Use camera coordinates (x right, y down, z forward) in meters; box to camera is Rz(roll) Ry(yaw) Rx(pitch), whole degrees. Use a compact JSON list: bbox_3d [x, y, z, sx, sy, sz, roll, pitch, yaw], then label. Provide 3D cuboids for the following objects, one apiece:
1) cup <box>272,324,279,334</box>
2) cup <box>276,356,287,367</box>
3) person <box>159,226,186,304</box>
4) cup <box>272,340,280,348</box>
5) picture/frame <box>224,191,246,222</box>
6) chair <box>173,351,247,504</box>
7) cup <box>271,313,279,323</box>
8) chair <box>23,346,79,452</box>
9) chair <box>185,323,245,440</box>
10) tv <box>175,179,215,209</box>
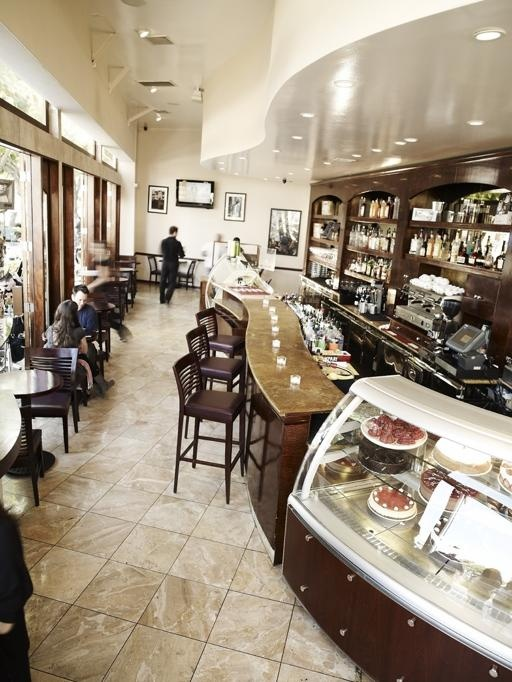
[{"bbox_3d":[0.189,-0.114,4.460,0.067,0.081,0.072,0,10,0],"label":"cup"},{"bbox_3d":[0.189,0.147,3.421,0.062,0.076,0.065,1,9,0],"label":"cup"},{"bbox_3d":[-2.035,-1.847,11.327,0.525,1.788,0.930,1,13,-11],"label":"person"},{"bbox_3d":[0.171,0.025,3.943,0.060,0.065,0.113,1,2,2],"label":"cup"},{"bbox_3d":[-0.565,-3.770,13.033,0.701,1.003,0.064,2,8,-2],"label":"picture/frame"},{"bbox_3d":[-0.328,0.624,3.435,0.446,0.975,0.428,4,15,8],"label":"chair"},{"bbox_3d":[0.210,-0.239,5.096,0.093,0.099,0.071,0,23,-9],"label":"cup"},{"bbox_3d":[-1.705,0.483,3.827,0.425,0.756,0.517,2,11,-3],"label":"chair"},{"bbox_3d":[-0.338,0.149,4.271,0.598,0.992,0.573,5,21,14],"label":"chair"},{"bbox_3d":[-1.657,-4.117,12.998,0.704,0.604,0.101,4,11,2],"label":"tv"}]
